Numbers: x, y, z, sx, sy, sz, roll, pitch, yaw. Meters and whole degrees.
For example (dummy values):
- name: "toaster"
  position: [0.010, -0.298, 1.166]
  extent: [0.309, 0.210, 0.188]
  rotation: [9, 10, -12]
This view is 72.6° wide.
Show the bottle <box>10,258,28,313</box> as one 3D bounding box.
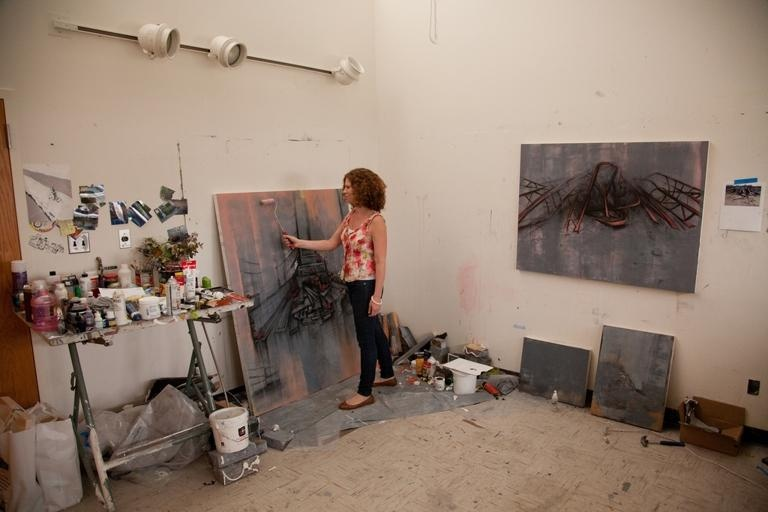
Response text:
- name: "bottle"
  position: [-2.764, 0.214, 3.947]
  extent: [0.119, 0.362, 0.196]
  rotation: [-7, 7, -34]

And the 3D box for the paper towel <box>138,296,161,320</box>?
- name: "paper towel"
  position: [-1.774, 0.396, 3.945]
  extent: [0.144, 0.170, 0.070]
  rotation: [-6, 7, -30]

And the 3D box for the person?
- name: "person"
  position: [-0.295, 0.302, 5.015]
  extent: [0.773, 2.225, 0.603]
  rotation: [-1, 6, 16]

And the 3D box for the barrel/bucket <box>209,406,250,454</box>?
- name: "barrel/bucket"
  position: [-1.226, 1.385, 4.148]
  extent: [0.282, 0.255, 0.311]
  rotation: [-1, 1, -3]

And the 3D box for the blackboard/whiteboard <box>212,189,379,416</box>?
- name: "blackboard/whiteboard"
  position: [-0.879, 0.448, 4.908]
  extent: [0.094, 2.598, 1.792]
  rotation: [-9, 0, 42]

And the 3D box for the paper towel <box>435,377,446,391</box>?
- name: "paper towel"
  position: [0.550, 1.273, 5.211]
  extent: [0.104, 0.105, 0.102]
  rotation: [4, 13, 19]

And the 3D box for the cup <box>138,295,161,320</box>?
- name: "cup"
  position: [-1.765, 0.384, 3.926]
  extent: [0.156, 0.174, 0.156]
  rotation: [2, 4, 0]

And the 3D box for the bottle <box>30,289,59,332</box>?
- name: "bottle"
  position: [-2.468, 0.395, 3.765]
  extent: [0.275, 0.294, 0.128]
  rotation: [-1, 6, 23]

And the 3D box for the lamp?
- name: "lamp"
  position: [-1.074, -1.831, 4.777]
  extent: [2.182, 0.318, 0.298]
  rotation: [-7, 6, -34]

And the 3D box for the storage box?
- name: "storage box"
  position: [2.799, 1.428, 4.461]
  extent: [0.468, 0.335, 0.400]
  rotation: [2, 10, 39]

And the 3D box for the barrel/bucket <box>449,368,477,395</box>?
- name: "barrel/bucket"
  position: [0.800, 1.257, 5.245]
  extent: [0.196, 0.228, 0.253]
  rotation: [-1, -3, 17]

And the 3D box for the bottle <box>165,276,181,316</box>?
- name: "bottle"
  position: [-1.626, 0.312, 4.010]
  extent: [0.106, 0.283, 0.050]
  rotation: [-6, 7, -26]

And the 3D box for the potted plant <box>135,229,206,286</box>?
- name: "potted plant"
  position: [-1.802, 0.005, 4.434]
  extent: [0.532, 0.390, 0.321]
  rotation: [-6, 6, -26]

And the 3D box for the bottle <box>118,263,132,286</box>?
- name: "bottle"
  position: [-2.111, 0.155, 4.245]
  extent: [0.099, 0.178, 0.255]
  rotation: [-6, 6, -27]

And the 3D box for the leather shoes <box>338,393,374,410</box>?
- name: "leather shoes"
  position: [-0.259, 1.373, 4.954]
  extent: [0.262, 0.109, 0.132]
  rotation: [1, 0, -14]

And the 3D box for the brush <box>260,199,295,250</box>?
- name: "brush"
  position: [-1.009, -0.324, 4.915]
  extent: [0.189, 0.592, 0.072]
  rotation: [-23, 6, -22]

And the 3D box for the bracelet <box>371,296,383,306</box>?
- name: "bracelet"
  position: [-0.073, 0.409, 4.766]
  extent: [0.078, 0.049, 0.086]
  rotation: [4, 30, -35]

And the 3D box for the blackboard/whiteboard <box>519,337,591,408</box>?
- name: "blackboard/whiteboard"
  position: [1.701, 1.154, 5.105]
  extent: [0.573, 0.544, 0.085]
  rotation: [6, -7, 31]

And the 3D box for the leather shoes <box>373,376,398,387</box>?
- name: "leather shoes"
  position: [0.016, 1.274, 5.312]
  extent: [0.242, 0.109, 0.089]
  rotation: [4, 5, 0]

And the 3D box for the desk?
- name: "desk"
  position: [-1.950, 0.955, 4.636]
  extent: [1.445, 1.841, 1.903]
  rotation: [6, 12, 38]

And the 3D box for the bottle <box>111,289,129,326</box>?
- name: "bottle"
  position: [-1.980, 0.381, 3.911]
  extent: [0.105, 0.257, 0.189]
  rotation: [-6, 6, -27]

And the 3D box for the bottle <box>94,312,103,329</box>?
- name: "bottle"
  position: [-2.068, 0.459, 3.791]
  extent: [0.048, 0.124, 0.088]
  rotation: [-4, 6, -4]
